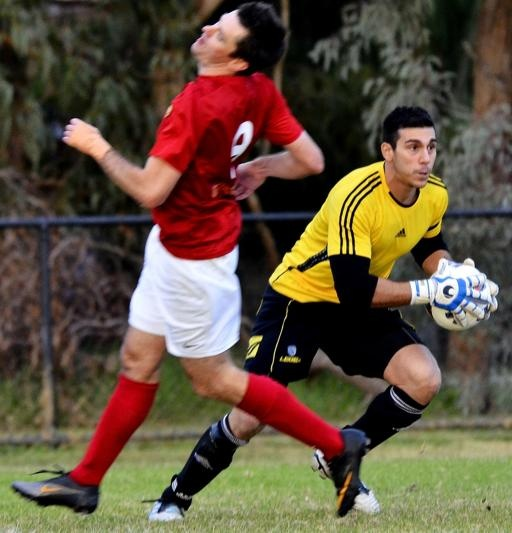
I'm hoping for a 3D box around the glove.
[{"bbox_3d":[0.868,0.115,4.406,0.330,0.307,0.269,12,-25,10],"label":"glove"}]

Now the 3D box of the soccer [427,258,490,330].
[{"bbox_3d":[0.899,0.133,4.477,0.216,0.271,0.308,5,12,-13],"label":"soccer"}]

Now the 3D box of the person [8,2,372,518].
[{"bbox_3d":[-0.181,0.030,4.077,1.309,2.091,0.637,0,-3,-14],"label":"person"}]
